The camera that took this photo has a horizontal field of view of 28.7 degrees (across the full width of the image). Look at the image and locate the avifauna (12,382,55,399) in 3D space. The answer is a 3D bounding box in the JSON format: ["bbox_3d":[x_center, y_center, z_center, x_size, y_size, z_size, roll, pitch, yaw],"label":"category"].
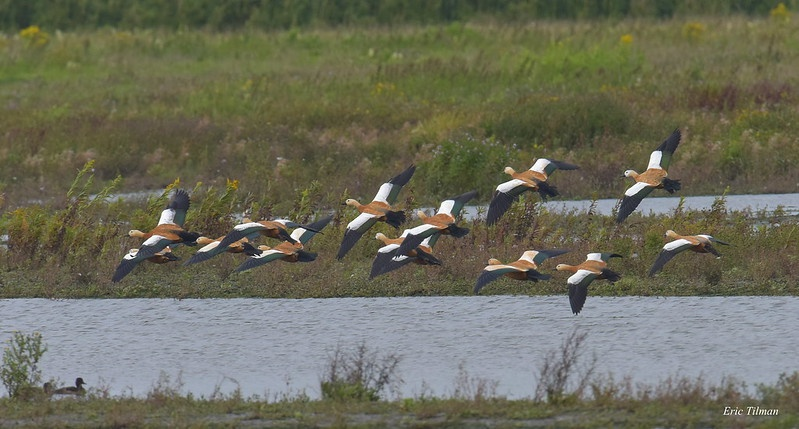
[{"bbox_3d":[-10.537,5.127,44.803,0.664,0.230,0.645,-2,0,31],"label":"avifauna"}]
